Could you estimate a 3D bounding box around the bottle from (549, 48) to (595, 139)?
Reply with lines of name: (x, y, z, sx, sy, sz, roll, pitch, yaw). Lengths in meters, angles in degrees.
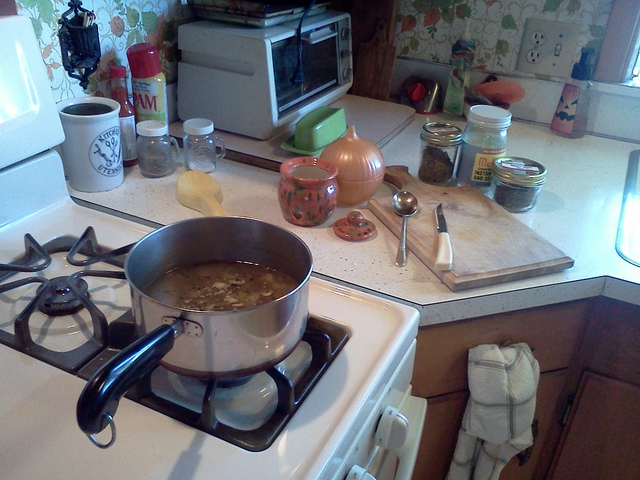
bottle: (0.795, -0.457, 1.569, 0.101, 0.244, 0.100, 0, 35, 0)

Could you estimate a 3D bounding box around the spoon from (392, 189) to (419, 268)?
spoon: (0.174, -0.033, 1.089, 0.046, 0.028, 0.192, 5, 51, 5)

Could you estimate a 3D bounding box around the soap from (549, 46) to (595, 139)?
soap: (0.798, -0.451, 1.556, 0.106, 0.261, 0.093, 4, 33, 3)

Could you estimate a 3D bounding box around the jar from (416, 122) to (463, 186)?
jar: (0.305, -0.218, 1.296, 0.102, 0.143, 0.100, -1, 35, 1)

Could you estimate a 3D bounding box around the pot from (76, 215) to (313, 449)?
pot: (-0.159, 0.142, 0.724, 0.215, 0.140, 0.377, 14, 35, 17)

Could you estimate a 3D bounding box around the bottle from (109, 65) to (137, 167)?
bottle: (-0.501, -0.301, 1.251, 0.074, 0.254, 0.074, 9, 31, -5)

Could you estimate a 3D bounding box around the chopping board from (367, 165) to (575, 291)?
chopping board: (0.304, -0.051, 1.150, 0.297, 0.054, 0.431, -7, 34, -15)

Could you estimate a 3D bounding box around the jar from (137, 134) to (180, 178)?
jar: (-0.421, -0.215, 1.299, 0.083, 0.117, 0.084, 3, 28, -1)

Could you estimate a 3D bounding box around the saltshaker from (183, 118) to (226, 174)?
saltshaker: (-0.299, -0.239, 1.316, 0.125, 0.124, 0.079, -12, 27, -39)

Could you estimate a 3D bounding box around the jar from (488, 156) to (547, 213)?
jar: (0.473, -0.130, 1.230, 0.142, 0.098, 0.142, 5, 23, -2)

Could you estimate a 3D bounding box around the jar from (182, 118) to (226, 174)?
jar: (-0.292, -0.256, 1.320, 0.154, 0.157, 0.094, 0, 39, -11)

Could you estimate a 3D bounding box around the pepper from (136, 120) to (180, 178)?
pepper: (-0.410, -0.228, 1.280, 0.119, 0.126, 0.084, -18, 32, -41)

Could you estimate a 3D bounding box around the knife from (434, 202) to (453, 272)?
knife: (0.256, -0.019, 1.068, 0.035, 0.021, 0.255, -2, 34, 12)
